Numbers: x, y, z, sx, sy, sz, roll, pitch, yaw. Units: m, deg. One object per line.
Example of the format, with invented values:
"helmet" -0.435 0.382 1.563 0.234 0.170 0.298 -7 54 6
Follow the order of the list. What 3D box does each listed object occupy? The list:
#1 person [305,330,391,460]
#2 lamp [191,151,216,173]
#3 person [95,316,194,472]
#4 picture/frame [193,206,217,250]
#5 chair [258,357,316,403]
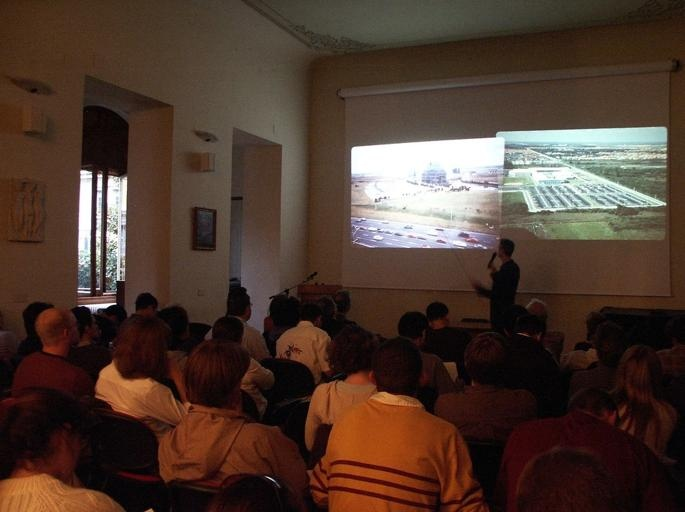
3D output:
"person" -0.035 0.671 2.604 0.317 0.276 0.886 -12 -36 -21
"lamp" -1.681 -1.127 6.328 0.227 0.248 0.247 -1 -1 10
"person" -0.957 0.625 2.618 0.438 0.731 0.401 14 18 19
"picture/frame" -1.715 -0.345 6.414 0.081 0.602 0.515 -2 -3 28
"chair" -0.319 0.762 3.384 0.260 0.377 0.300 1 1 20
